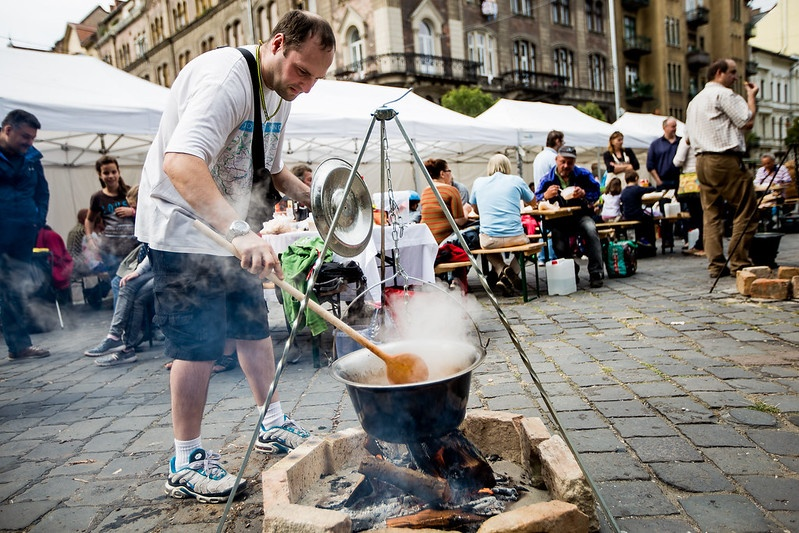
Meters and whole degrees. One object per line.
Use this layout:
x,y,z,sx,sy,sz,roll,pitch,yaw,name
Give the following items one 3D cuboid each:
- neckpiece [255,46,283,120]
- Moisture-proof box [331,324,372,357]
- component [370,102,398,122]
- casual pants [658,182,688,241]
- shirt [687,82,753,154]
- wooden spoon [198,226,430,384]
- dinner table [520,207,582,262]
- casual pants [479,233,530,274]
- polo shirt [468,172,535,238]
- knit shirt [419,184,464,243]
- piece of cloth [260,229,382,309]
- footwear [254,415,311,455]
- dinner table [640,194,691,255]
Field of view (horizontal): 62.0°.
-1.010,-1.420,5.162,0.116,0.490,0.308,-17,15,-6,neckpiece
-0.516,0.738,6.727,0.324,0.268,0.332,-1,-4,2,Moisture-proof box
-0.128,-1.252,5.377,0.186,0.153,0.241,-3,6,-1,component
4.717,-0.997,11.524,0.573,0.829,0.849,-1,9,17,casual pants
4.022,-1.894,8.427,0.743,0.928,0.342,0,7,28,shirt
-0.778,0.351,5.960,2.303,0.457,0.302,36,11,-3,wooden spoon
2.259,-0.534,10.095,0.888,0.870,0.926,0,6,19,dinner table
1.458,-0.244,9.269,0.586,0.370,0.601,-5,5,-1,casual pants
1.467,-0.858,9.374,0.873,0.868,0.815,1,8,22,polo shirt
0.574,-0.730,8.973,0.522,0.819,0.946,-4,6,-9,knit shirt
-0.632,-0.083,6.899,0.972,0.533,0.939,4,7,28,piece of cloth
-0.974,1.416,5.590,0.568,0.307,0.224,-1,4,5,footwear
4.624,-0.757,11.647,0.979,0.971,0.690,-3,1,-29,dinner table
